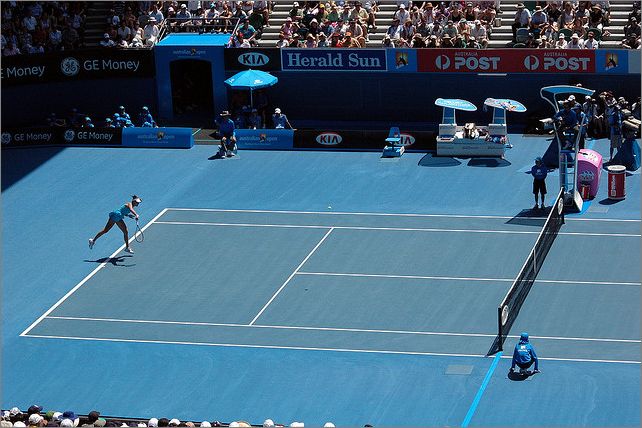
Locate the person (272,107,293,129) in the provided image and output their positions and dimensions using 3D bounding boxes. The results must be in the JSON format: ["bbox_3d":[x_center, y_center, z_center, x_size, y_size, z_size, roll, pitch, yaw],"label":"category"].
[{"bbox_3d":[-2.104,-4.860,52.676,0.822,1.136,1.217,6,18,27],"label":"person"}]

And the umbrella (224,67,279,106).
[{"bbox_3d":[-3.521,-6.428,52.657,1.839,1.272,1.886,-9,17,-36],"label":"umbrella"}]

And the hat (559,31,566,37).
[{"bbox_3d":[12.188,-9.055,51.910,0.279,0.232,0.479,3,17,15],"label":"hat"}]

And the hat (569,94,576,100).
[{"bbox_3d":[11.215,-5.208,45.851,0.368,0.199,0.505,-2,3,4],"label":"hat"}]

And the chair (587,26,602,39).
[{"bbox_3d":[13.881,-9.109,52.047,0.490,0.635,0.554,5,-11,4],"label":"chair"}]

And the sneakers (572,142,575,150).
[{"bbox_3d":[10.915,-2.964,44.595,0.219,0.230,0.361,2,3,14],"label":"sneakers"}]

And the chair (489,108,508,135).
[{"bbox_3d":[8.496,-4.458,49.492,0.804,1.161,1.326,1,17,10],"label":"chair"}]

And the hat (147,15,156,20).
[{"bbox_3d":[-9.416,-10.852,56.940,0.421,0.205,0.605,5,-2,-13],"label":"hat"}]

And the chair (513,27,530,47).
[{"bbox_3d":[10.350,-8.908,52.798,0.921,0.942,1.252,3,-25,11],"label":"chair"}]

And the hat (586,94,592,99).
[{"bbox_3d":[12.910,-5.654,49.607,0.224,0.105,0.161,-4,6,32],"label":"hat"}]

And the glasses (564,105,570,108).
[{"bbox_3d":[10.633,-4.648,44.501,0.150,0.045,0.157,-2,-31,26],"label":"glasses"}]

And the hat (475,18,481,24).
[{"bbox_3d":[8.068,-9.844,52.765,0.255,0.198,0.474,0,16,8],"label":"hat"}]

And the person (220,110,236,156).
[{"bbox_3d":[-4.687,-3.947,50.950,0.897,2.035,1.164,-4,17,-6],"label":"person"}]

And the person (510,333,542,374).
[{"bbox_3d":[6.948,4.776,34.952,1.217,1.418,0.816,3,5,26],"label":"person"}]

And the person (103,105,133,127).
[{"bbox_3d":[-10.611,-5.028,54.305,1.041,1.188,2.135,1,14,-1],"label":"person"}]

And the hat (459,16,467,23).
[{"bbox_3d":[7.320,-9.944,52.926,0.396,0.211,0.614,0,16,6],"label":"hat"}]

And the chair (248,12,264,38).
[{"bbox_3d":[-3.528,-10.442,56.405,0.961,1.279,1.174,4,32,3],"label":"chair"}]

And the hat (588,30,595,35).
[{"bbox_3d":[13.634,-9.067,51.745,0.269,0.287,0.423,4,17,20],"label":"hat"}]

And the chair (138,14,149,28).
[{"bbox_3d":[-9.945,-10.756,57.374,0.680,0.901,0.711,1,24,-6],"label":"chair"}]

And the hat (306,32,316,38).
[{"bbox_3d":[-0.528,-9.412,54.114,0.405,0.122,0.409,7,1,5],"label":"hat"}]

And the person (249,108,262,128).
[{"bbox_3d":[-3.397,-4.939,53.504,0.639,1.102,1.647,-2,16,-1],"label":"person"}]

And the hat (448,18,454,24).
[{"bbox_3d":[6.688,-9.905,52.958,0.329,0.164,0.463,-1,9,4],"label":"hat"}]

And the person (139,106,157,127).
[{"bbox_3d":[-9.152,-5.124,54.048,0.810,1.156,2.788,-5,16,-9],"label":"person"}]

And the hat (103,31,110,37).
[{"bbox_3d":[-11.979,-9.962,57.243,0.240,0.177,0.336,0,16,-3],"label":"hat"}]

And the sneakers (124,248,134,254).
[{"bbox_3d":[-7.908,1.504,42.233,0.156,0.198,0.456,-8,8,-44],"label":"sneakers"}]

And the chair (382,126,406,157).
[{"bbox_3d":[3.475,-3.494,49.977,0.921,1.319,1.412,6,18,24],"label":"chair"}]
